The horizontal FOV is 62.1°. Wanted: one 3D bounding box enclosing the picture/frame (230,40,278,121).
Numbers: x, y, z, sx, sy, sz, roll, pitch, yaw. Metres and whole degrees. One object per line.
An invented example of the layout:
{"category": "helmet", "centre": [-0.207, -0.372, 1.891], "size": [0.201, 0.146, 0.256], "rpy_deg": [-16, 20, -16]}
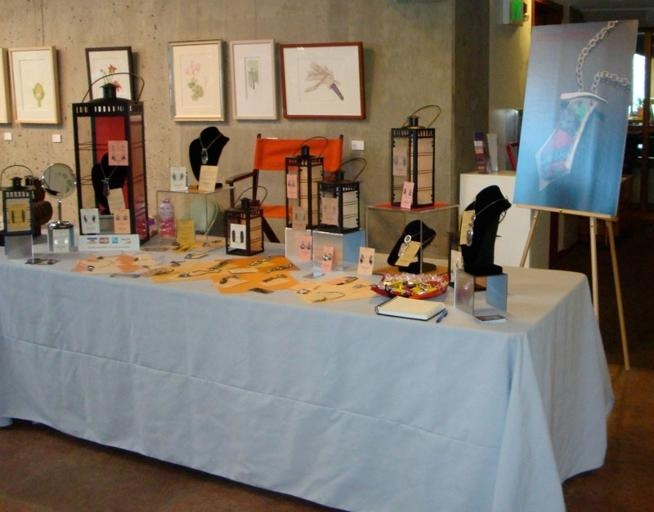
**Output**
{"category": "picture/frame", "centre": [-0.695, -1.716, 5.237], "size": [0.646, 1.005, 0.040], "rpy_deg": [4, 9, 21]}

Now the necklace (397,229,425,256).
{"category": "necklace", "centre": [0.377, -0.058, 2.416], "size": [0.060, 0.078, 0.116], "rpy_deg": [-17, 42, 47]}

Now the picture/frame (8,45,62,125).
{"category": "picture/frame", "centre": [-3.286, -1.956, 6.129], "size": [0.745, 1.055, 0.111], "rpy_deg": [4, 8, 23]}

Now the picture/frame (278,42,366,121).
{"category": "picture/frame", "centre": [-0.021, -1.601, 4.936], "size": [0.664, 0.613, 0.026], "rpy_deg": [9, 25, 25]}

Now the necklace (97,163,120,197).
{"category": "necklace", "centre": [-1.229, -0.430, 3.049], "size": [0.193, 0.169, 0.054], "rpy_deg": [7, 13, 33]}

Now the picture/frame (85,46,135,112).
{"category": "picture/frame", "centre": [-2.353, -1.946, 5.800], "size": [0.590, 0.540, 0.266], "rpy_deg": [5, 13, 29]}

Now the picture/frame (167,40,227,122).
{"category": "picture/frame", "centre": [-1.300, -1.788, 5.485], "size": [0.697, 0.938, 0.098], "rpy_deg": [3, 9, 19]}

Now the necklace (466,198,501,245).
{"category": "necklace", "centre": [0.605, -0.136, 2.118], "size": [0.103, 0.218, 0.157], "rpy_deg": [2, 3, -24]}

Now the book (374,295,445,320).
{"category": "book", "centre": [0.318, 0.200, 2.059], "size": [0.225, 0.033, 0.208], "rpy_deg": [7, 14, 33]}
